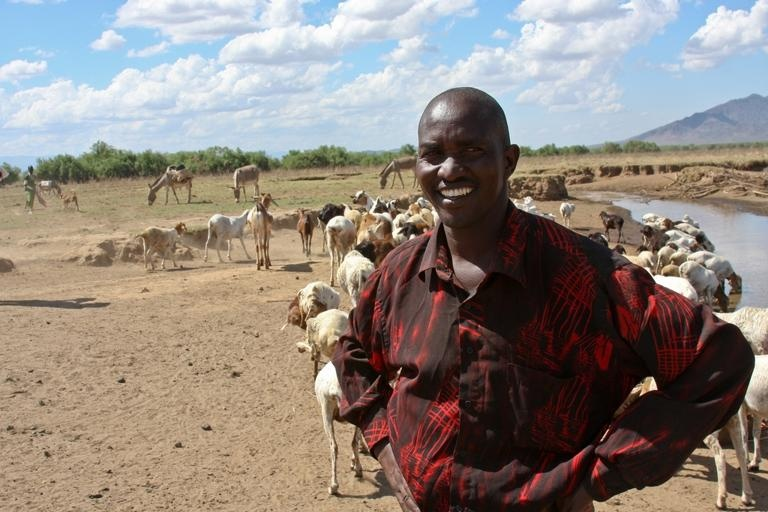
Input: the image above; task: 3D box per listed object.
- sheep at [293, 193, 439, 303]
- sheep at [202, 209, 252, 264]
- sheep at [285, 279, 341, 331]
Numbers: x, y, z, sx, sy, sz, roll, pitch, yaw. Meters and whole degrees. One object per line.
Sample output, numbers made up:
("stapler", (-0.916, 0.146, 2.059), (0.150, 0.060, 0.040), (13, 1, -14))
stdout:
("sheep", (-2.097, -0.368, 15.494), (5.496, 2.781, 1.236), (3, 0, 17))
("sheep", (-6.032, -0.905, 21.189), (1.492, 1.869, 3.216), (-5, 14, -17))
("sheep", (-1.420, 0.919, 11.011), (0.725, 0.670, 1.207), (4, -2, -6))
